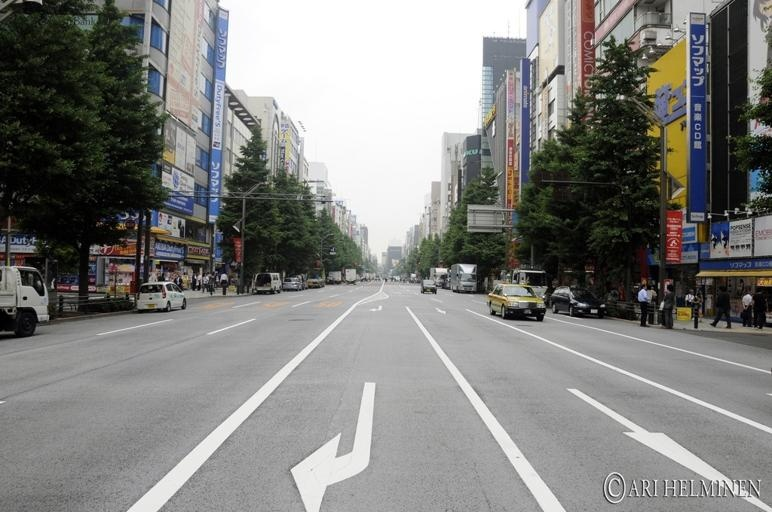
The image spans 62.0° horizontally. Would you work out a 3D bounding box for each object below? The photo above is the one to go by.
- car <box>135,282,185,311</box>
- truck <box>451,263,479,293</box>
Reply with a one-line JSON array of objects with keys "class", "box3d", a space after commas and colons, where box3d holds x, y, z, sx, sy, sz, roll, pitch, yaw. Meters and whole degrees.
[{"class": "car", "box3d": [-12.038, 2.164, 34.573, 1.131, 0.953, 2.010, 0, 0, 8]}, {"class": "truck", "box3d": [9.459, 2.748, 76.683, 2.432, 3.732, 5.592, 0, 5, 2]}]
